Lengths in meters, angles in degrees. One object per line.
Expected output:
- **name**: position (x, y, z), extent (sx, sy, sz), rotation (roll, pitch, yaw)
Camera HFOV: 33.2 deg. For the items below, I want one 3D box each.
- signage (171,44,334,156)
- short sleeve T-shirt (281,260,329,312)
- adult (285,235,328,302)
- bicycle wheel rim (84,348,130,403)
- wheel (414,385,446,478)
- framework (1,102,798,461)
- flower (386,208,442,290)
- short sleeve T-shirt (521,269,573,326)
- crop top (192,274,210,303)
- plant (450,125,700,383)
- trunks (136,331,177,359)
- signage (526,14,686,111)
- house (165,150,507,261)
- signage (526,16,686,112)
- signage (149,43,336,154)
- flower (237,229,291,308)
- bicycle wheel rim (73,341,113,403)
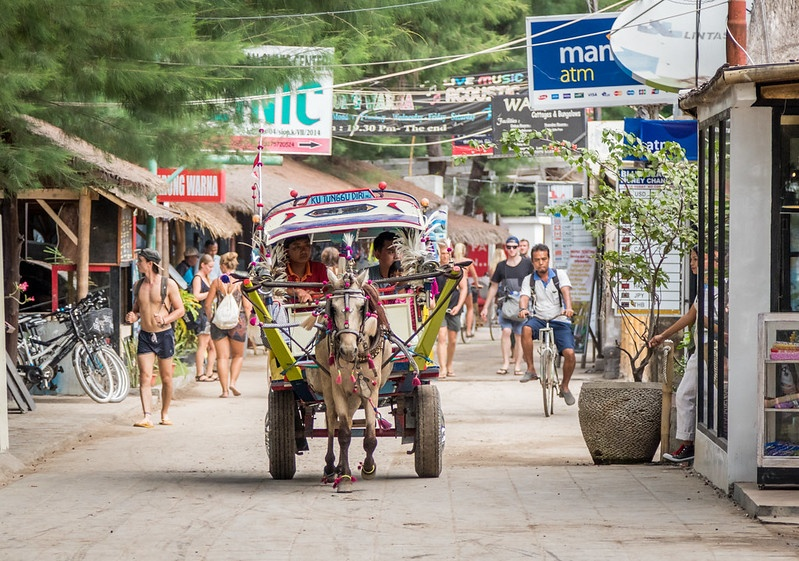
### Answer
- **signage**: position (-2.448, -3.491, 26.205), extent (3.001, 2.111, 0.126), rotation (6, 9, 34)
- **short sleeve T-shirt**: position (-1.158, 0.077, 16.169), extent (0.580, 0.636, 0.346), rotation (0, -17, -5)
- **adult**: position (-0.977, -0.124, 16.604), extent (0.568, 0.825, 0.824), rotation (-1, -1, -17)
- **bicycle wheel rim**: position (-4.654, 1.571, 21.578), extent (0.180, 0.744, 0.776), rotation (-15, -34, 31)
- **wheel**: position (0.345, 1.797, 15.734), extent (0.396, 1.095, 1.103), rotation (0, -2, 2)
- **framework**: position (1.328, 0.517, 16.303), extent (6.172, 3.791, 3.193), rotation (-1, -2, 18)
- **flower**: position (0.259, -0.441, 16.860), extent (0.427, 0.982, 0.633), rotation (-6, -13, 20)
- **short sleeve T-shirt**: position (2.360, 0.180, 20.984), extent (0.671, 0.736, 0.393), rotation (1, 15, 34)
- **crop top**: position (-3.550, 0.137, 24.083), extent (0.272, 0.466, 0.490), rotation (1, 4, 0)
- **plant**: position (2.520, -0.947, 17.630), extent (2.398, 2.584, 1.538), rotation (-18, 18, -10)
- **trunks**: position (-3.467, 0.899, 19.194), extent (0.526, 0.399, 0.385), rotation (0, -13, -3)
- **signage**: position (3.118, -3.298, 20.143), extent (2.242, 1.399, 0.222), rotation (-1, -4, 8)
- **house**: position (-1.431, -1.585, 27.173), extent (4.631, 1.264, 4.520), rotation (2, -1, 20)
- **signage**: position (3.219, -3.458, 21.113), extent (2.568, 1.594, 0.218), rotation (-4, 6, -12)
- **signage**: position (-2.444, -3.579, 26.890), extent (3.005, 2.136, 0.110), rotation (7, 11, 39)
- **flower**: position (-1.548, -0.078, 16.117), extent (0.485, 0.912, 0.427), rotation (-2, -15, -5)
- **bicycle wheel rim**: position (-4.837, 1.476, 21.258), extent (0.311, 0.846, 0.861), rotation (-23, -25, 25)
